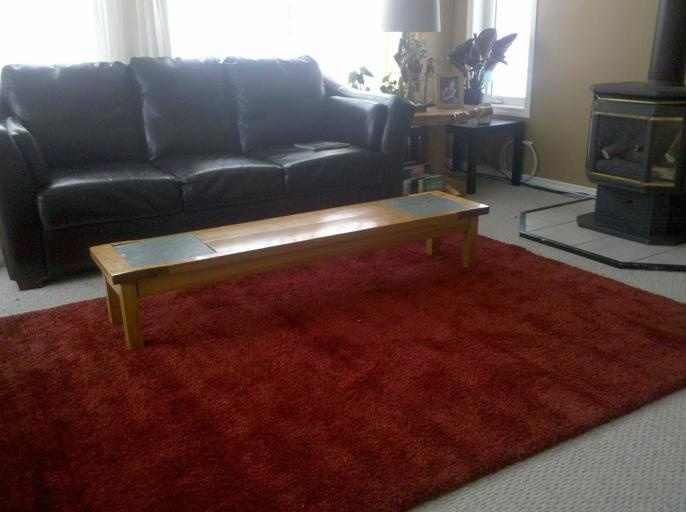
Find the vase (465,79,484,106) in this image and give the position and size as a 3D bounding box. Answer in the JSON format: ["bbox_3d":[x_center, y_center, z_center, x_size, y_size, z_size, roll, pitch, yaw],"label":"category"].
[{"bbox_3d":[1.096,-1.364,4.267,0.167,0.140,0.186,-1,11,-1],"label":"vase"}]

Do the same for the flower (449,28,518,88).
[{"bbox_3d":[1.163,-1.682,4.462,0.527,0.520,0.514,5,23,9],"label":"flower"}]
